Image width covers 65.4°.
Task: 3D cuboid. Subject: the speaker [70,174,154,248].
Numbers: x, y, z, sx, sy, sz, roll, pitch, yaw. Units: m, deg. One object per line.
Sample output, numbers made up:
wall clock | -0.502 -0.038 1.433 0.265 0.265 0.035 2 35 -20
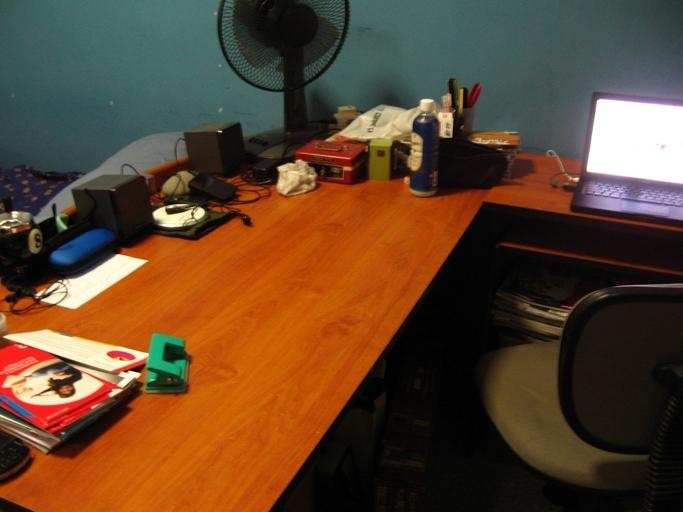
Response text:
speaker | -0.629 -0.142 1.453 0.184 0.123 0.170 -6 26 -5

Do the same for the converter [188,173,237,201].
converter | -0.409 -0.219 1.672 0.127 0.027 0.088 25 37 21

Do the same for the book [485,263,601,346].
book | 0.674 0.152 1.821 0.345 0.108 0.262 17 45 29

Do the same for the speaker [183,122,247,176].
speaker | -0.439 -0.373 1.857 0.220 0.143 0.195 -10 25 -10

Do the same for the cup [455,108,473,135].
cup | 0.433 -0.463 1.824 0.084 0.066 0.094 10 31 23

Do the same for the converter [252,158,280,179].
converter | -0.259 -0.298 1.796 0.067 0.036 0.080 4 26 10
